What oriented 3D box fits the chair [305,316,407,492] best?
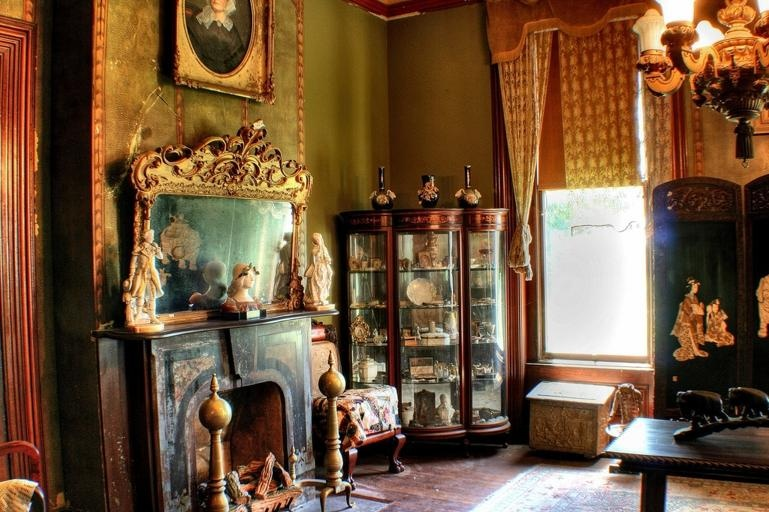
[{"bbox_3d":[-0.506,1.426,6.759,1.211,1.619,1.174,-6,-5,35],"label":"chair"}]

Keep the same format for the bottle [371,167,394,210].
[{"bbox_3d":[-0.026,-0.716,7.381,0.245,0.443,0.639,-1,5,-1],"label":"bottle"}]

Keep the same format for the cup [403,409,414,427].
[{"bbox_3d":[0.248,1.652,7.040,0.130,0.158,0.135,1,1,0],"label":"cup"}]

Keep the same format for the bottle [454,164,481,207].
[{"bbox_3d":[0.907,-0.740,7.361,0.242,0.450,0.444,0,5,10],"label":"bottle"}]

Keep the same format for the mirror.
[{"bbox_3d":[-1.406,-0.201,5.612,0.139,1.610,1.839,0,1,35],"label":"mirror"}]
